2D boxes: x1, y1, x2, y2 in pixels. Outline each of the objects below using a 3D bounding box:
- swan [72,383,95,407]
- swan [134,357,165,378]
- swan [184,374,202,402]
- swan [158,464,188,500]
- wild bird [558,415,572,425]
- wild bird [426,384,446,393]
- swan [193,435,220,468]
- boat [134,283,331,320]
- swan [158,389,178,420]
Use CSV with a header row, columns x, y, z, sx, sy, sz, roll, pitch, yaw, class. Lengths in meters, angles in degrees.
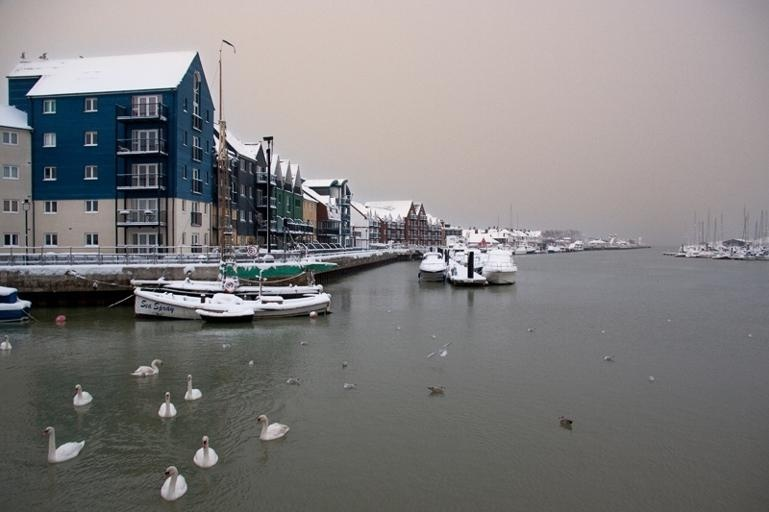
x,y,z,sx,sy,sz,roll,pitch,yaw,class
-14.950,6.831,32.341,0.853,1.016,1.130,-1,6,-26,swan
-12.709,6.066,35.372,1.859,1.314,0.746,-2,1,-20,swan
-9.651,6.857,32.947,0.663,1.237,1.531,0,-12,-2,swan
-8.820,9.485,27.399,1.095,1.360,0.672,-1,5,-19,swan
8.726,7.851,31.092,0.624,0.243,0.791,2,5,14,wild bird
2.721,6.834,33.489,0.853,0.637,0.354,3,3,-1,wild bird
-7.783,8.492,28.515,1.058,1.404,0.640,0,5,-16,swan
-10.806,3.453,45.905,12.967,2.010,2.682,0,5,-13,boat
-10.372,7.105,31.206,0.829,1.170,0.826,-1,5,-19,swan
